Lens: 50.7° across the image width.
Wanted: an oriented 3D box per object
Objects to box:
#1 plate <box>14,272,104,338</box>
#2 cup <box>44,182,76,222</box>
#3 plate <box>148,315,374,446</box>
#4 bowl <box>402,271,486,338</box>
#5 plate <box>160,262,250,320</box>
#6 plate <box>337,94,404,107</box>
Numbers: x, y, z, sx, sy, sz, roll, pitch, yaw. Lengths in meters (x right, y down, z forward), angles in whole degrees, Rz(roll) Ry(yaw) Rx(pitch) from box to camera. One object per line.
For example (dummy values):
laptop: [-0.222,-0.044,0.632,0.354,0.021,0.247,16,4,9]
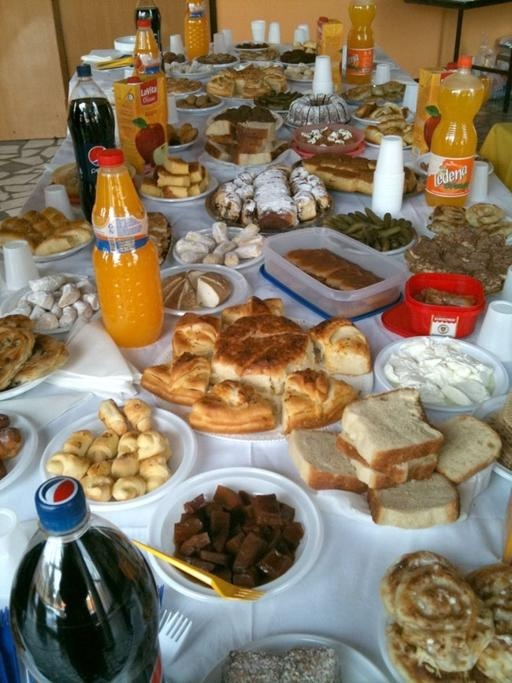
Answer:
plate: [-0.462,-0.091,1.291,0.170,0.047,0.167,-29,47,-34]
cup: [-0.619,-0.460,1.779,0.116,0.104,0.084,-15,47,-29]
plate: [0.009,0.067,1.029,0.295,0.060,0.285,9,37,11]
bowl: [0.417,-0.081,1.222,0.157,0.123,0.087,8,-11,16]
plate: [-0.117,-0.138,1.370,0.170,0.058,0.165,13,37,21]
plate: [0.592,-1.256,2.814,0.206,0.034,0.158,17,39,24]
